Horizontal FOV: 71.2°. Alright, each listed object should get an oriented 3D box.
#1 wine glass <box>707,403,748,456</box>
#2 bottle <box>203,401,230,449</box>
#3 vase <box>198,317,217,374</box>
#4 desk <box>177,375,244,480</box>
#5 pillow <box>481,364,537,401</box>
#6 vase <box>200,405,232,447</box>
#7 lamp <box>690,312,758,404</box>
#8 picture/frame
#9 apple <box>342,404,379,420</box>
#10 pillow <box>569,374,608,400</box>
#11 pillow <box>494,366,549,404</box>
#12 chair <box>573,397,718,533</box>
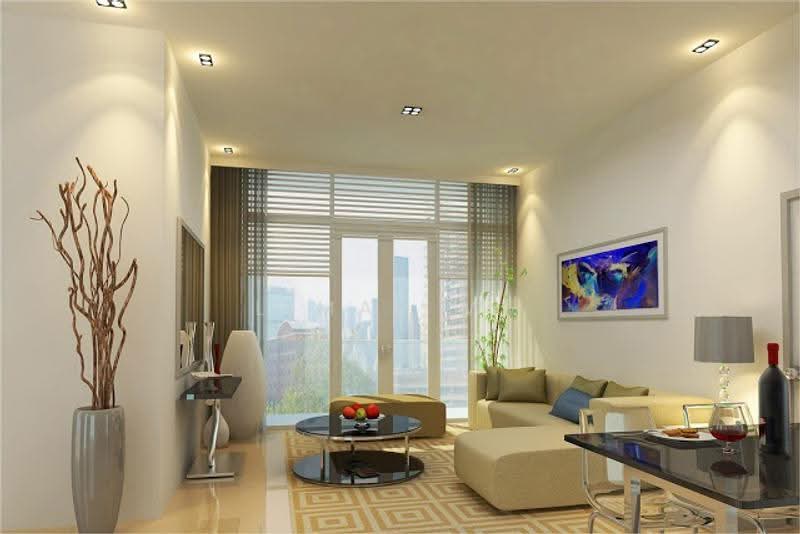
[{"bbox_3d":[1.854,0.907,3.177,0.217,0.257,0.205,-4,-7,41],"label":"wine glass"},{"bbox_3d":[-2.200,1.759,6.653,0.306,0.669,0.296,5,9,-1],"label":"bottle"},{"bbox_3d":[-2.074,0.878,6.037,0.141,0.524,0.126,-5,-17,-2],"label":"vase"},{"bbox_3d":[-2.033,1.692,5.920,0.357,0.606,1.103,1,-3,-12],"label":"desk"},{"bbox_3d":[1.510,1.557,7.527,0.756,0.498,0.263,5,3,-24],"label":"pillow"},{"bbox_3d":[-2.210,1.897,6.695,0.344,0.491,0.331,-1,17,-45],"label":"vase"},{"bbox_3d":[2.779,0.792,4.821,0.476,0.733,0.472,-1,-4,40],"label":"lamp"},{"bbox_3d":[2.357,0.128,6.353,0.035,0.883,1.584,7,-9,-24],"label":"picture/frame"},{"bbox_3d":[-0.427,1.510,5.824,0.236,0.096,0.239,-3,-7,10],"label":"apple"},{"bbox_3d":[2.060,1.367,6.150,0.143,0.359,0.400,24,-19,-27],"label":"pillow"},{"bbox_3d":[1.554,1.521,7.207,0.630,0.446,0.228,-1,-12,10],"label":"pillow"},{"bbox_3d":[1.549,1.233,3.617,0.777,1.001,0.792,3,-8,-21],"label":"chair"}]
